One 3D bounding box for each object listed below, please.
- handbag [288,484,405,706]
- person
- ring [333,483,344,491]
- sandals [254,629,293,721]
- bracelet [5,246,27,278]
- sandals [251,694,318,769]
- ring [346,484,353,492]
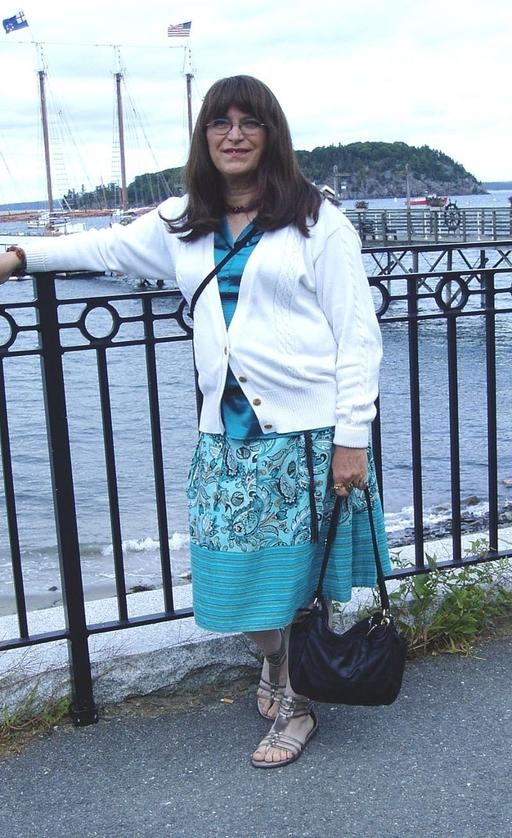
[{"bbox_3d":[0.239,0.486,2.122,0.312,0.536,0.289,-2,9,1],"label":"handbag"},{"bbox_3d":[-0.053,0.030,2.225,0.827,1.882,0.437,-1,9,8],"label":"person"},{"bbox_3d":[0.221,0.185,2.100,0.021,0.028,0.016,-1,56,18],"label":"ring"},{"bbox_3d":[0.063,0.802,2.415,0.100,0.126,0.302,0,11,9],"label":"sandals"},{"bbox_3d":[-0.680,-0.452,2.249,0.033,0.092,0.070,0,-4,-34],"label":"bracelet"},{"bbox_3d":[0.084,0.893,2.247,0.097,0.103,0.249,1,4,25],"label":"sandals"},{"bbox_3d":[0.251,0.184,2.105,0.020,0.026,0.014,-4,26,1],"label":"ring"}]
